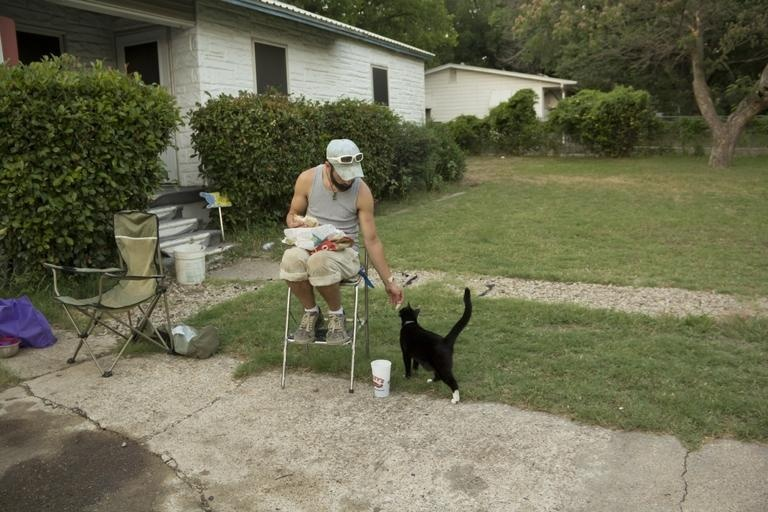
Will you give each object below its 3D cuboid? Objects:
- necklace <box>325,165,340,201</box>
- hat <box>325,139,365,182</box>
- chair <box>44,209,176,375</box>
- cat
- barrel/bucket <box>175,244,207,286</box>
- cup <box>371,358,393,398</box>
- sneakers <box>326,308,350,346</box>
[{"bbox_3d":[-0.575,-0.778,6.798,0.181,0.312,0.159,-5,7,-13],"label":"necklace"},{"bbox_3d":[-0.425,-1.032,6.708,0.294,0.239,0.453,-21,57,-32],"label":"hat"},{"bbox_3d":[-3.100,0.347,7.333,1.142,1.682,0.975,5,10,34],"label":"chair"},{"bbox_3d":[0.476,0.829,6.660,0.792,1.141,0.387,10,19,39],"label":"cat"},{"bbox_3d":[-2.807,0.085,9.586,0.516,0.580,0.531,4,12,-1],"label":"barrel/bucket"},{"bbox_3d":[-0.033,1.220,6.634,0.188,0.381,0.206,-2,14,0],"label":"cup"},{"bbox_3d":[-0.496,0.737,6.742,0.262,0.353,0.232,-4,14,-10],"label":"sneakers"}]
